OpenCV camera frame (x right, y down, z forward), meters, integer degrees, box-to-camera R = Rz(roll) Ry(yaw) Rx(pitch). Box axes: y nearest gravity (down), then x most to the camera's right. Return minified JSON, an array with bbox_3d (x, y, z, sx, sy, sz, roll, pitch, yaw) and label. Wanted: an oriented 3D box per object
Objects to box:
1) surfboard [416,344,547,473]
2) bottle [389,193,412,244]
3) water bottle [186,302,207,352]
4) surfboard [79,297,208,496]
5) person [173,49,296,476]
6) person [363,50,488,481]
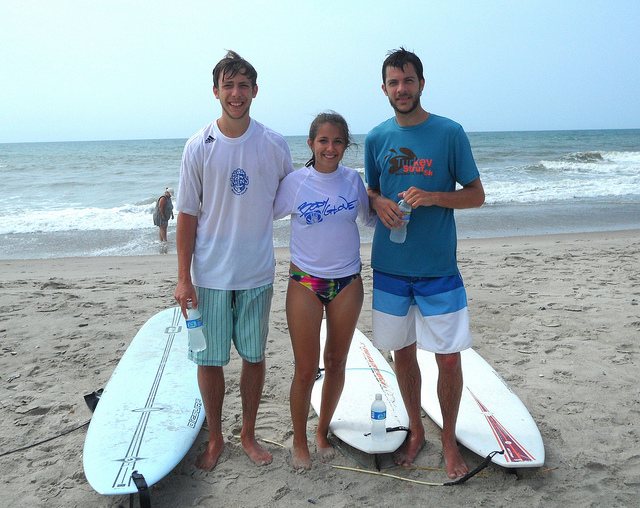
[{"bbox_3d":[1.409,1.365,5.073,0.746,0.332,2.539,-17,5,3],"label":"surfboard"},{"bbox_3d":[0.586,-0.241,4.052,0.170,0.370,0.148,-3,13,7],"label":"bottle"},{"bbox_3d":[-0.927,0.552,4.176,0.137,0.366,0.095,1,14,23],"label":"water bottle"},{"bbox_3d":[-1.404,1.173,4.801,0.594,0.320,2.085,-1,25,3],"label":"surfboard"},{"bbox_3d":[-0.643,0.092,4.180,0.892,3.067,0.491,-8,14,-16],"label":"person"},{"bbox_3d":[0.753,0.094,4.133,0.865,3.108,0.596,0,14,16],"label":"person"}]
